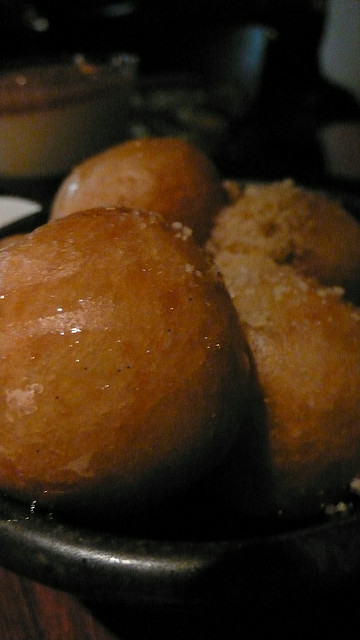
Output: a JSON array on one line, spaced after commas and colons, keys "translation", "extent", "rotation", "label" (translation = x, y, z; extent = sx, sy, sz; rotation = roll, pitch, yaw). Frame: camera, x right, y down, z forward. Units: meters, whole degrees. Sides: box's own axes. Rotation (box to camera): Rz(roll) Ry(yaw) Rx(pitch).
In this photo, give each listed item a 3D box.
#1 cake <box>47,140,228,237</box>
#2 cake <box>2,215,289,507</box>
[{"translation": [-0.028, -0.057, 0.341], "extent": [0.063, 0.040, 0.074], "rotation": [-1, 3, 32], "label": "cake"}, {"translation": [-0.036, 0.027, 0.322], "extent": [0.120, 0.079, 0.142], "rotation": [-12, 79, -37], "label": "cake"}]
